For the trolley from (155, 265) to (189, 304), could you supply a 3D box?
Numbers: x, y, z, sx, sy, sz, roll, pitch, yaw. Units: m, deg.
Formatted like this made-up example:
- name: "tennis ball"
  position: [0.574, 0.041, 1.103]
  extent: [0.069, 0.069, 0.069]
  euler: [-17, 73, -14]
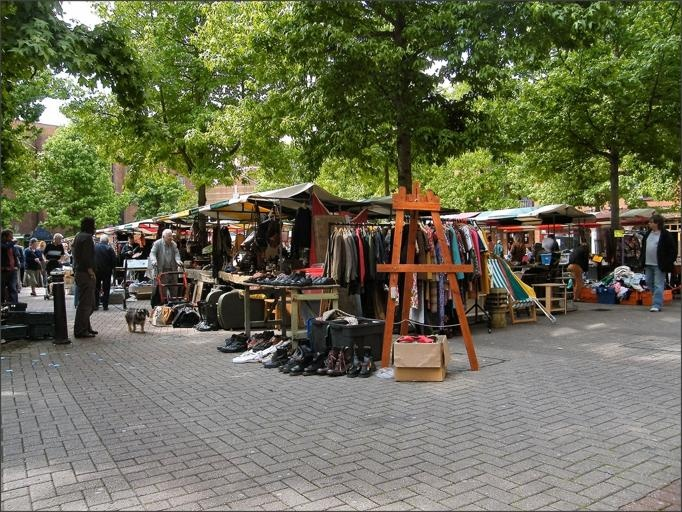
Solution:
- name: "trolley"
  position: [-4.548, 0.817, 15.332]
  extent: [0.846, 1.084, 0.635]
  euler: [-4, 16, -21]

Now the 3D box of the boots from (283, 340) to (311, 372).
- name: "boots"
  position: [-0.647, 1.597, 8.852]
  extent: [0.336, 0.408, 0.972]
  euler: [3, 2, 17]

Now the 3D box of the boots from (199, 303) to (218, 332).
- name: "boots"
  position: [-3.004, 1.415, 13.015]
  extent: [0.617, 0.659, 0.587]
  euler: [2, -3, -26]

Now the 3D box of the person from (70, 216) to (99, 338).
- name: "person"
  position: [-5.334, 0.452, 11.813]
  extent: [0.470, 2.534, 0.549]
  euler: [-3, 6, -25]

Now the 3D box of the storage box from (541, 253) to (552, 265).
- name: "storage box"
  position: [7.130, 0.087, 19.648]
  extent: [0.420, 0.386, 0.402]
  euler: [0, -4, -2]

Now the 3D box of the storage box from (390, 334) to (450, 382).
- name: "storage box"
  position: [1.162, 1.458, 8.132]
  extent: [0.838, 0.590, 0.482]
  euler: [0, 5, -1]

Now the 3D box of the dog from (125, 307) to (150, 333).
- name: "dog"
  position: [-4.607, 1.462, 12.786]
  extent: [0.394, 0.522, 0.511]
  euler: [-2, 5, -23]

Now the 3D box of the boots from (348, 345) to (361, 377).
- name: "boots"
  position: [0.218, 1.555, 8.409]
  extent: [0.200, 0.397, 0.373]
  euler: [0, 5, 4]

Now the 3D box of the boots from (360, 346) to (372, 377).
- name: "boots"
  position: [0.401, 1.558, 8.436]
  extent: [0.190, 0.373, 0.487]
  euler: [0, 5, 5]

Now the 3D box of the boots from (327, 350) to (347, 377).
- name: "boots"
  position: [-0.040, 1.622, 8.462]
  extent: [0.248, 0.428, 0.628]
  euler: [-4, -12, 21]

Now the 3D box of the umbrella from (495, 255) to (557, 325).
- name: "umbrella"
  position: [3.803, 0.618, 13.301]
  extent: [1.397, 1.674, 1.270]
  euler: [-4, 5, -27]
